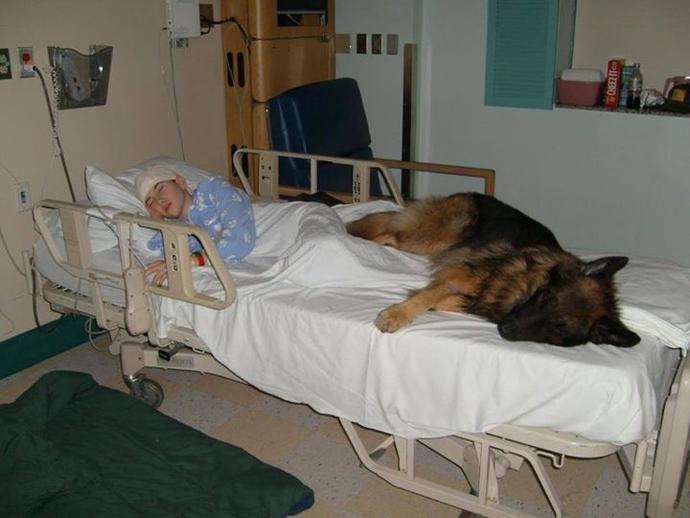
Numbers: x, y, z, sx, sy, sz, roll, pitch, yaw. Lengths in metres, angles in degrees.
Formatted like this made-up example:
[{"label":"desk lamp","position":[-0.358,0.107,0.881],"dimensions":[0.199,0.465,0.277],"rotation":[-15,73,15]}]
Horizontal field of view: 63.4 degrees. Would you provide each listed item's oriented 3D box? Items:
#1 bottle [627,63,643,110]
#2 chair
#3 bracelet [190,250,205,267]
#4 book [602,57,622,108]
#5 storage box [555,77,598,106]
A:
[{"label":"bottle","position":[2.368,-1.409,4.570],"dimensions":[0.122,0.340,0.186],"rotation":[10,24,25]},{"label":"chair","position":[0.316,-1.025,4.722],"dimensions":[1.432,1.593,1.024],"rotation":[11,27,19]},{"label":"bracelet","position":[-0.749,0.005,2.850],"dimensions":[0.063,0.050,0.065],"rotation":[-5,4,3]},{"label":"book","position":[2.197,-1.433,4.600],"dimensions":[0.143,0.413,0.377],"rotation":[4,13,17]},{"label":"storage box","position":[1.941,-1.393,4.676],"dimensions":[0.282,0.157,0.213],"rotation":[7,19,21]}]
